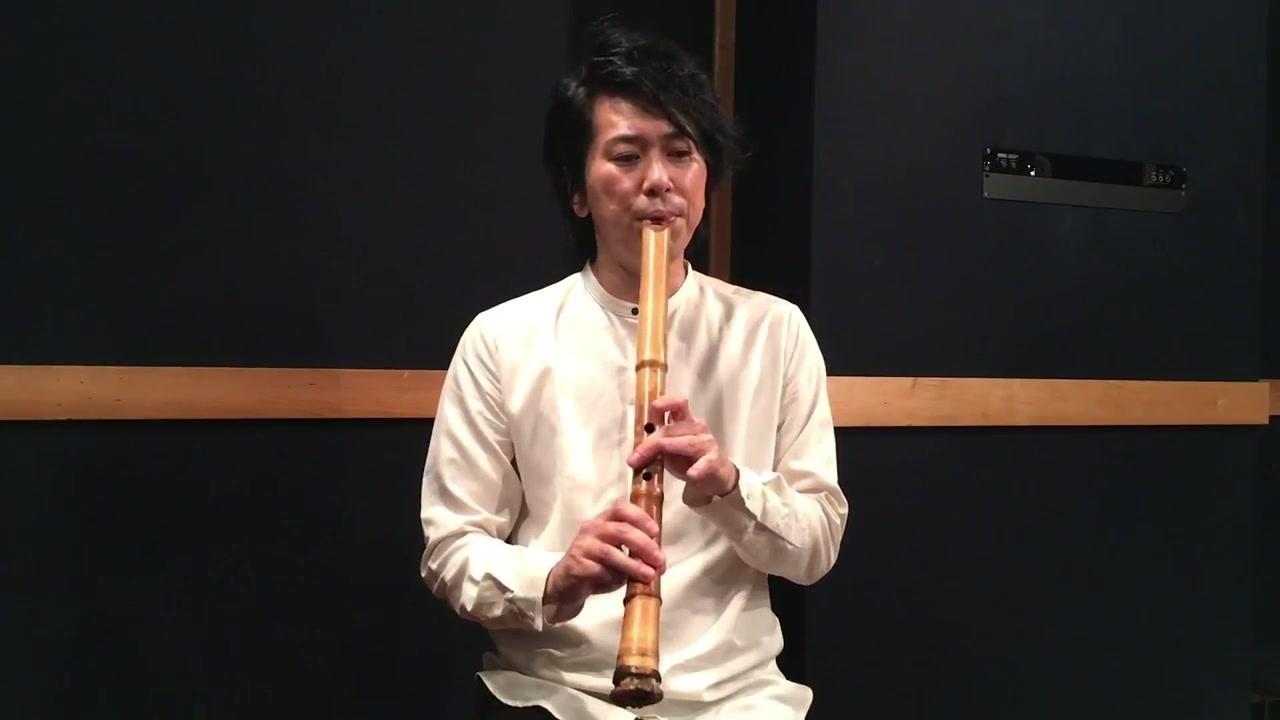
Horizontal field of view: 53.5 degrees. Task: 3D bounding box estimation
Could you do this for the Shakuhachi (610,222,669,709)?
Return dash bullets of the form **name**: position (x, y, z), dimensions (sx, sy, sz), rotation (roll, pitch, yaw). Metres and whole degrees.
- **Shakuhachi**: position (0.003, 0.347, 4.378), dimensions (0.171, 1.629, 0.578), rotation (0, 5, 4)
